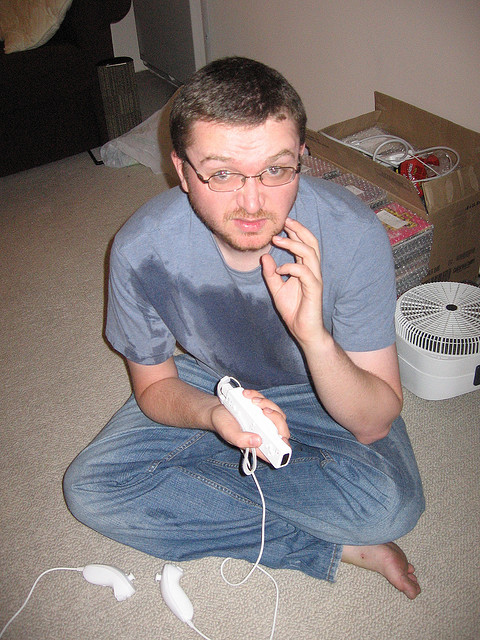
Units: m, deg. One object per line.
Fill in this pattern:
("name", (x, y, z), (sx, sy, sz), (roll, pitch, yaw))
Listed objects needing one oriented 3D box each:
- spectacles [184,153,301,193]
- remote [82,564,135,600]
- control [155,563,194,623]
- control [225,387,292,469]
("spectacles", (0.004, -0.236, 0.866), (0.189, 0.040, 0.074), (-2, 36, 2))
("remote", (-0.294, 0.587, 1.225), (0.107, 0.062, 0.028), (25, 5, 13))
("control", (-0.140, 0.590, 1.160), (0.069, 0.027, 0.101), (-13, 40, -31))
("control", (0.017, 0.179, 0.929), (0.059, 0.058, 0.174), (-39, 49, 5))
